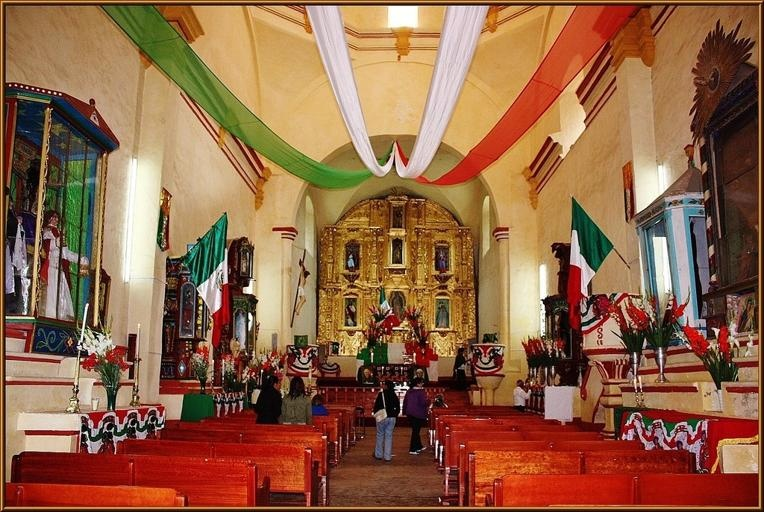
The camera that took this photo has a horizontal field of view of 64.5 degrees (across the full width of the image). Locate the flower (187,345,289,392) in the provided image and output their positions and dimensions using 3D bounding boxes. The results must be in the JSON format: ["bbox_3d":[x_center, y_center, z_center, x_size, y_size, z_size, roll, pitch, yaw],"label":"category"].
[{"bbox_3d":[-3.386,2.699,14.476,1.371,0.762,2.089,0,-7,5],"label":"flower"}]

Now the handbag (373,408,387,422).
[{"bbox_3d":[-0.044,2.982,11.381,0.222,0.185,0.228,-4,-7,11],"label":"handbag"}]

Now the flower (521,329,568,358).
[{"bbox_3d":[3.645,2.091,13.901,0.974,0.544,0.865,-11,-15,38],"label":"flower"}]

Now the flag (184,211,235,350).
[{"bbox_3d":[-3.129,0.406,10.971,0.775,2.374,0.584,-2,-12,7],"label":"flag"}]

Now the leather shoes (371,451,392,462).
[{"bbox_3d":[-0.046,3.740,11.315,0.445,0.194,0.146,-4,-9,14],"label":"leather shoes"}]

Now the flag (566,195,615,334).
[{"bbox_3d":[3.466,0.109,10.414,0.783,2.315,0.778,6,-14,-30],"label":"flag"}]

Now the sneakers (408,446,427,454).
[{"bbox_3d":[0.694,3.915,12.245,0.156,0.197,0.470,2,-18,-6],"label":"sneakers"}]

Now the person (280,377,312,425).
[{"bbox_3d":[-1.408,2.410,10.069,0.507,0.913,0.289,4,12,3],"label":"person"}]

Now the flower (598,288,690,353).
[{"bbox_3d":[3.742,0.915,8.706,0.944,0.900,1.232,-6,-13,21],"label":"flower"}]

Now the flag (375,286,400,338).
[{"bbox_3d":[0.176,2.254,24.007,1.111,1.813,0.852,-19,-57,4],"label":"flag"}]
